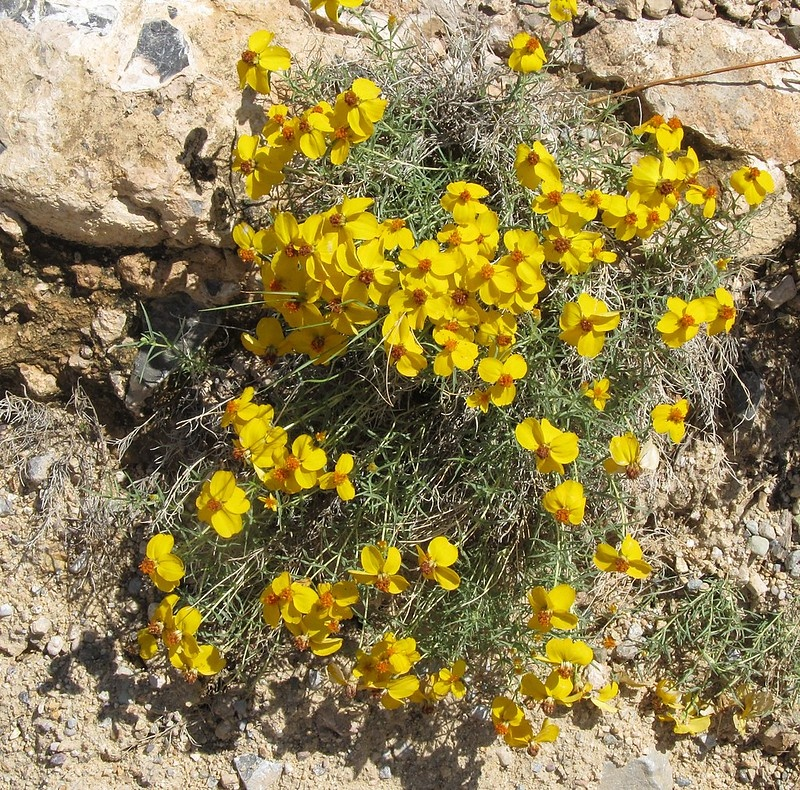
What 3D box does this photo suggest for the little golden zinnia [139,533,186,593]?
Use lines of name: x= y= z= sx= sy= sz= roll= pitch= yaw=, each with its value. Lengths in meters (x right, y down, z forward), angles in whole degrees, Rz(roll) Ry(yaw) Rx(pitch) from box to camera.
little golden zinnia: x=-0.878 y=0.647 z=3.798 sx=0.157 sy=0.385 sz=0.203 roll=18 pitch=75 yaw=0
